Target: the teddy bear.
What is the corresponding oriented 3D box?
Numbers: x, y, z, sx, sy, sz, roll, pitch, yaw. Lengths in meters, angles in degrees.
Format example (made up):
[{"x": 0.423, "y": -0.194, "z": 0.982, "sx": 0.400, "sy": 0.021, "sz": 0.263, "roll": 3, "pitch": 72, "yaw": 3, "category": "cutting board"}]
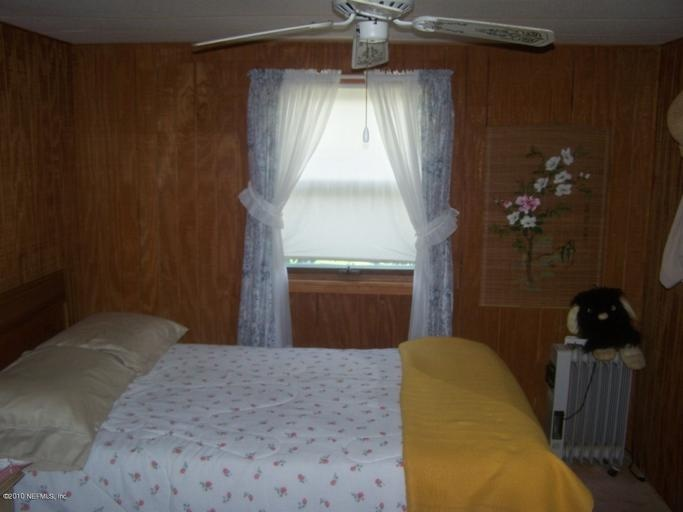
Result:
[{"x": 1.843, "y": 0.501, "z": 3.778, "sx": 0.480, "sy": 0.577, "sz": 0.317, "roll": -8, "pitch": 1, "yaw": 23, "category": "teddy bear"}]
